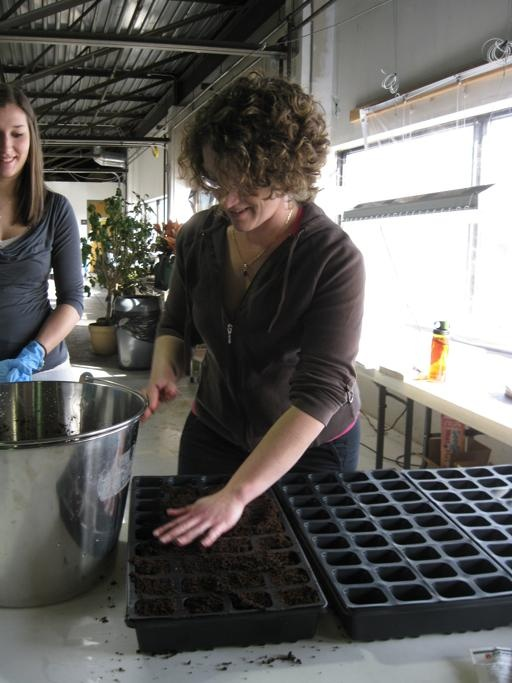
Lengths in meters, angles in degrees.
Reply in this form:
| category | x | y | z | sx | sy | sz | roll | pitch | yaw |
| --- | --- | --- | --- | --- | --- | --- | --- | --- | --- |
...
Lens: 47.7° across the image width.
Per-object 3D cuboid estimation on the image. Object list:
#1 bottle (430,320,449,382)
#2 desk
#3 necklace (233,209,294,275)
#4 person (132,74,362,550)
| category | x | y | z | sx | sy | sz | roll | pitch | yaw |
| --- | --- | --- | --- | --- | --- | --- | --- | --- | --- |
| bottle | 0.712 | 0.031 | 2.247 | 0.070 | 0.226 | 0.158 | 8 | 11 | 18 |
| desk | 0.732 | 0.406 | 3.129 | 0.553 | 0.453 | 0.978 | -4 | 15 | -23 |
| necklace | 0.019 | -0.198 | 1.244 | 0.110 | 0.135 | 0.052 | -1 | -15 | 42 |
| person | -0.005 | -0.049 | 1.146 | 0.393 | 0.860 | 0.682 | 2 | 11 | -10 |
